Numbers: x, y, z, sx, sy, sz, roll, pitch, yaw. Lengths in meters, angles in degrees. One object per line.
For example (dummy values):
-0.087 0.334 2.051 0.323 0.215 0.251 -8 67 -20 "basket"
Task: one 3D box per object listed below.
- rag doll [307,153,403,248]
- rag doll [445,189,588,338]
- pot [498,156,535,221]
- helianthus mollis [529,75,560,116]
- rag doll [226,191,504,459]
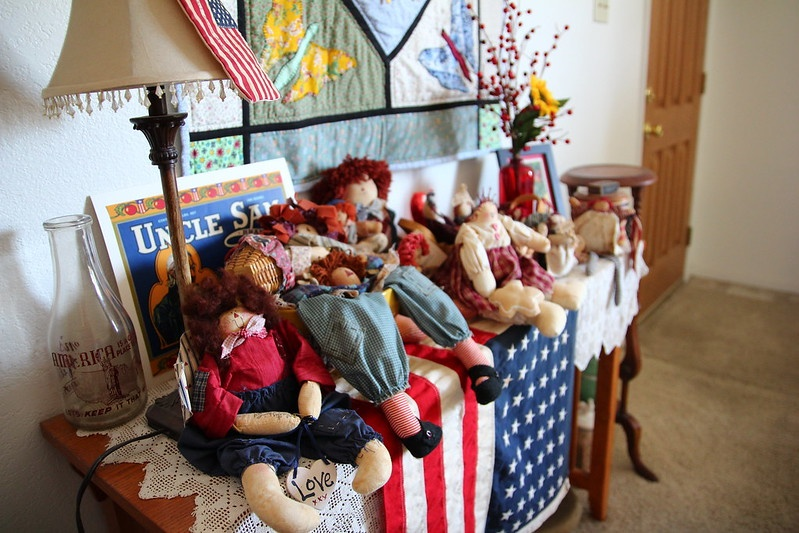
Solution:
-0.113 -0.190 1.805 0.202 0.263 0.182 -10 -7 -1 "rag doll"
0.279 0.001 1.725 0.397 0.286 0.286 22 46 25 "rag doll"
0.401 -0.251 2.143 0.108 0.243 0.112 3 -21 1 "pot"
0.454 -0.534 1.975 0.047 0.120 0.120 -11 -22 28 "helianthus mollis"
-0.050 0.116 1.508 0.379 0.158 0.620 -34 63 -27 "rag doll"
